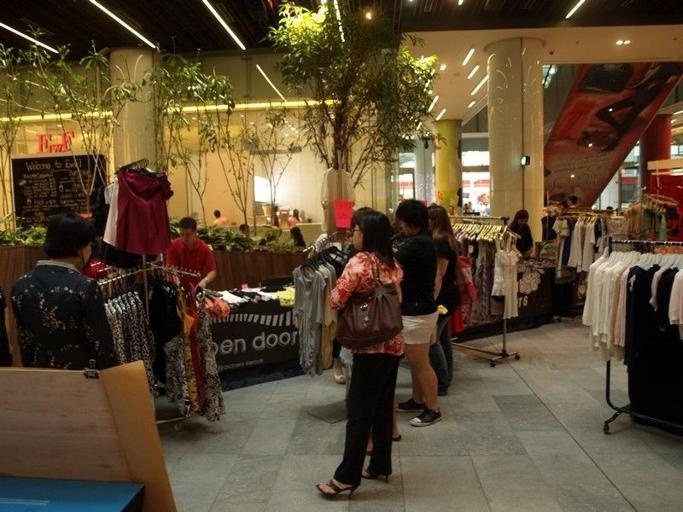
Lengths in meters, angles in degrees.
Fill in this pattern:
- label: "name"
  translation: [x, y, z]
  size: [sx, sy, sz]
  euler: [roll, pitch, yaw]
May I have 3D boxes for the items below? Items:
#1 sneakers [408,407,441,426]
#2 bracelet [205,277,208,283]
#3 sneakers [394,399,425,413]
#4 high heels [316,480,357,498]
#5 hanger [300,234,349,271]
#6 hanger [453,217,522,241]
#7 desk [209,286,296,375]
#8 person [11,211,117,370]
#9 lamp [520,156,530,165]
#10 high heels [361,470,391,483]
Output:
- label: "sneakers"
  translation: [0.714, 1.354, 4.281]
  size: [0.265, 0.114, 0.115]
  euler: [3, -8, -35]
- label: "bracelet"
  translation: [-1.398, 0.258, 5.214]
  size: [0.015, 0.056, 0.037]
  euler: [2, 4, 34]
- label: "sneakers"
  translation: [0.626, 1.361, 4.595]
  size: [0.265, 0.117, 0.102]
  euler: [3, -4, -13]
- label: "high heels"
  translation: [-0.045, 1.497, 3.286]
  size: [0.222, 0.090, 0.122]
  euler: [4, -3, -6]
- label: "hanger"
  translation: [-0.161, -0.004, 4.534]
  size: [0.401, 0.186, 0.271]
  euler: [-10, 2, 42]
- label: "hanger"
  translation: [1.910, -0.340, 6.511]
  size: [0.719, 0.343, 0.506]
  euler: [1, 10, 35]
- label: "desk"
  translation: [-0.971, 0.837, 5.505]
  size: [1.129, 0.785, 0.605]
  euler: [-2, 2, -41]
- label: "person"
  translation: [-1.492, 0.194, 2.689]
  size: [0.497, 0.827, 0.319]
  euler: [-4, 7, -26]
- label: "lamp"
  translation: [4.018, -2.054, 10.949]
  size: [0.193, 0.229, 0.054]
  euler: [1, 6, 10]
- label: "high heels"
  translation: [0.242, 1.503, 3.474]
  size: [0.194, 0.086, 0.074]
  euler: [10, 2, 3]
